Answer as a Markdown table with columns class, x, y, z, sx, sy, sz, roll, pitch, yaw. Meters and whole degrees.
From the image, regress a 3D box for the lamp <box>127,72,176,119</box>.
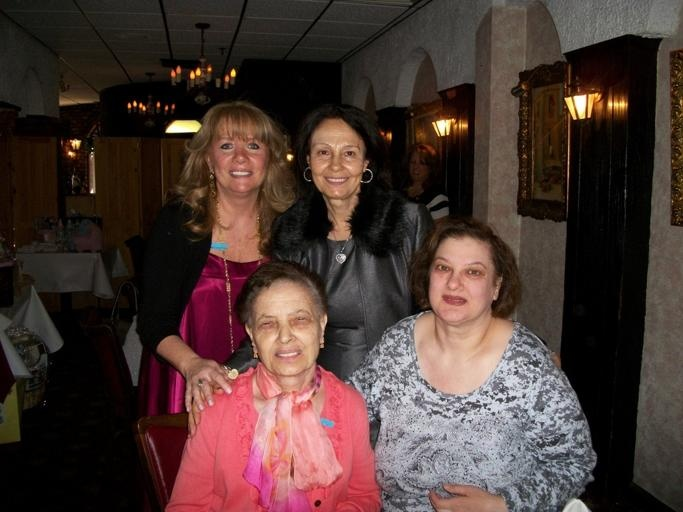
| class | x | y | z | sx | sy | sz | roll | pitch | yaw |
| --- | --- | --- | --- | --- | --- | --- | --- | --- | --- |
| lamp | -4.411 | -3.731 | 12.944 | 1.040 | 1.038 | 1.102 | 3 | 9 | 4 |

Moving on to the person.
| class | x | y | z | sx | sy | sz | roll | pitch | yaw |
| --- | --- | --- | --- | --- | --- | --- | --- | --- | --- |
| person | 0.287 | 0.182 | 2.407 | 1.465 | 1.673 | 0.704 | 4 | 10 | 22 |

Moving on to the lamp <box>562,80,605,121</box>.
| class | x | y | z | sx | sy | sz | roll | pitch | yaw |
| --- | --- | --- | --- | --- | --- | --- | --- | --- | --- |
| lamp | 1.832 | -1.149 | 4.303 | 0.245 | 0.384 | 0.275 | -5 | 6 | -10 |

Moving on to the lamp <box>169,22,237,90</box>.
| class | x | y | z | sx | sy | sz | roll | pitch | yaw |
| --- | --- | --- | --- | --- | --- | --- | --- | --- | --- |
| lamp | -2.278 | -3.304 | 9.175 | 0.826 | 0.863 | 0.767 | -5 | 12 | -40 |
